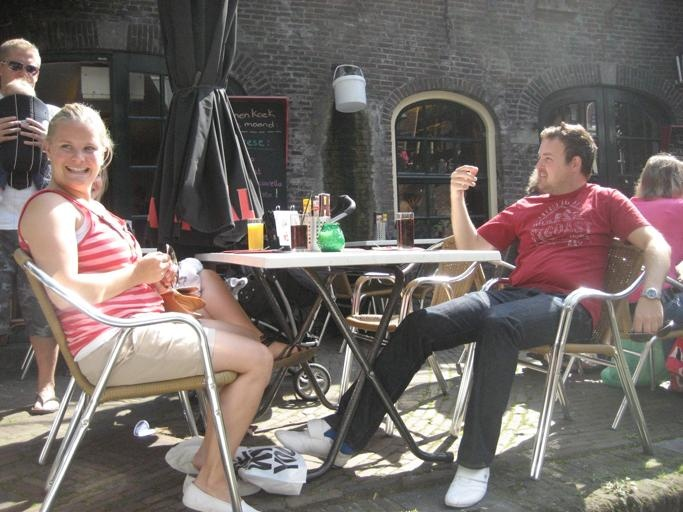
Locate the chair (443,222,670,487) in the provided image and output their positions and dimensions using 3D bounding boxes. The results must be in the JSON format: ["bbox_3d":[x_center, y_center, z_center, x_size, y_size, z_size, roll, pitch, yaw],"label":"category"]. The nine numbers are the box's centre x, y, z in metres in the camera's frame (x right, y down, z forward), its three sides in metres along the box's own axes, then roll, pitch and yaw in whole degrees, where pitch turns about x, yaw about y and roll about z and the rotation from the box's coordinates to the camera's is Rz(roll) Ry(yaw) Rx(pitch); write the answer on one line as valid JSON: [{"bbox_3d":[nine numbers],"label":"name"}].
[{"bbox_3d":[1.195,0.435,3.562,0.812,1.431,0.832,-1,-1,-30],"label":"chair"}]

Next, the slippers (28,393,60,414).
[{"bbox_3d":[-1.894,0.950,4.039,0.164,0.092,0.346,2,-5,-24],"label":"slippers"}]

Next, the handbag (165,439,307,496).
[{"bbox_3d":[-0.424,0.993,3.123,0.914,0.200,0.394,-1,-2,19],"label":"handbag"}]

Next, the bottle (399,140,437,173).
[{"bbox_3d":[1.010,-1.350,8.527,0.488,0.443,0.113,2,1,-16],"label":"bottle"}]

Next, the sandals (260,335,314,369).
[{"bbox_3d":[-0.280,0.504,3.402,0.342,0.171,0.243,1,4,-34],"label":"sandals"}]

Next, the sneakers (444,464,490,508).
[{"bbox_3d":[0.596,1.088,2.964,0.197,0.144,0.298,7,6,27],"label":"sneakers"}]

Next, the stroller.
[{"bbox_3d":[-0.446,0.608,4.596,0.756,0.988,0.748,0,9,-28],"label":"stroller"}]

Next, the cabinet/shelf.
[{"bbox_3d":[1.206,-1.063,8.603,1.095,1.211,0.344,-2,7,-25],"label":"cabinet/shelf"}]

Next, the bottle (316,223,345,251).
[{"bbox_3d":[-0.060,-0.100,3.405,0.146,0.135,0.143,-1,1,-4],"label":"bottle"}]

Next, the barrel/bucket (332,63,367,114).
[{"bbox_3d":[0.147,-2.025,7.703,0.335,0.594,0.360,3,8,0],"label":"barrel/bucket"}]
